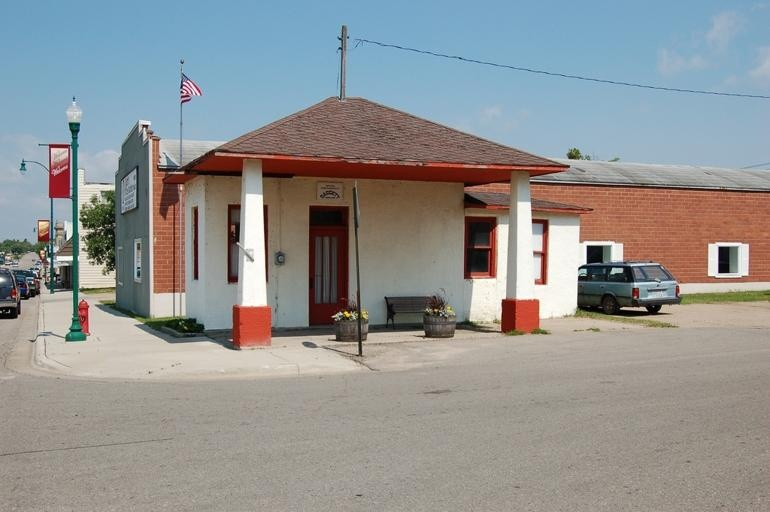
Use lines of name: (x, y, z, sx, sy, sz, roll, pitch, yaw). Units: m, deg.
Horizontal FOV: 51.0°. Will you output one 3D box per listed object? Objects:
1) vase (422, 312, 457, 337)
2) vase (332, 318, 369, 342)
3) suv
vase: (1.399, 1.786, 21.109, 0.645, 0.399, 0.652, -4, -7, 36)
vase: (-0.843, 1.807, 19.967, 0.793, 0.637, 0.790, -1, 7, -3)
suv: (8.203, 1.008, 28.325, 1.761, 1.204, 3.288, -1, 5, -23)
